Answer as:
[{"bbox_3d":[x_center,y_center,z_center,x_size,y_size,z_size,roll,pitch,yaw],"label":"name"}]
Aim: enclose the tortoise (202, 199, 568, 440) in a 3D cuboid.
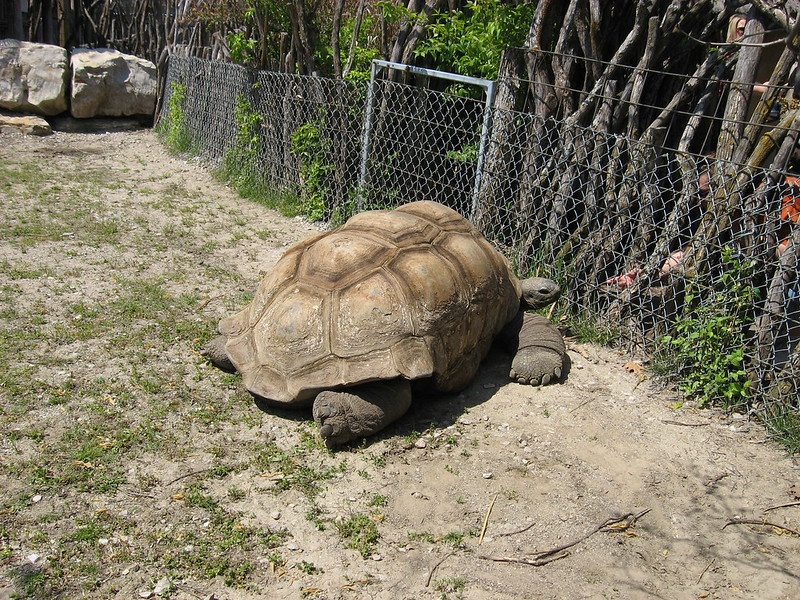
[{"bbox_3d":[0.010,-0.050,5.057,2.115,1.217,2.791,13,22,37],"label":"tortoise"}]
